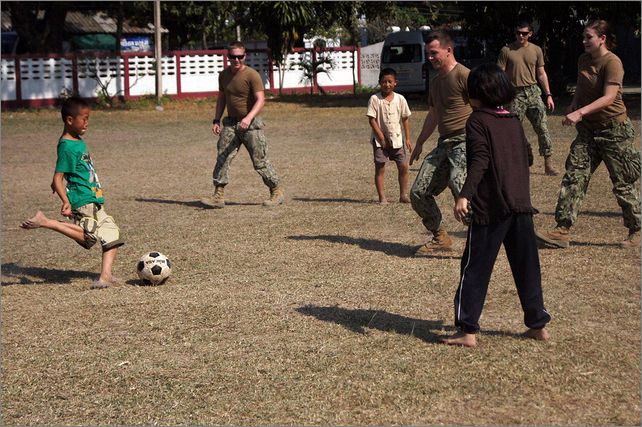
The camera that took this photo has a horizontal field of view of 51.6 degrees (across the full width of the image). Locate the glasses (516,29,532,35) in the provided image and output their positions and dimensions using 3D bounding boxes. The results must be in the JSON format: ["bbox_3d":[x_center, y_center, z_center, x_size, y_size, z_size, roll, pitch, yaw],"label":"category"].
[{"bbox_3d":[3.296,-2.915,10.795,0.208,0.078,0.169,2,10,9],"label":"glasses"}]

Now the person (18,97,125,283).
[{"bbox_3d":[-2.600,-0.213,7.085,0.944,1.999,0.612,-7,13,-31],"label":"person"}]

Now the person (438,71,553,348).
[{"bbox_3d":[1.507,-0.050,5.706,0.886,2.409,0.397,-1,11,-7],"label":"person"}]

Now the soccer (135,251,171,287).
[{"bbox_3d":[-1.849,0.622,7.325,0.381,0.396,0.386,-2,11,20],"label":"soccer"}]

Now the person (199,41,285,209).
[{"bbox_3d":[-1.197,-1.309,9.945,1.116,2.451,0.767,3,11,13],"label":"person"}]

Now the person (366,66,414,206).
[{"bbox_3d":[1.034,-1.136,9.931,0.652,1.989,0.662,2,11,11],"label":"person"}]
